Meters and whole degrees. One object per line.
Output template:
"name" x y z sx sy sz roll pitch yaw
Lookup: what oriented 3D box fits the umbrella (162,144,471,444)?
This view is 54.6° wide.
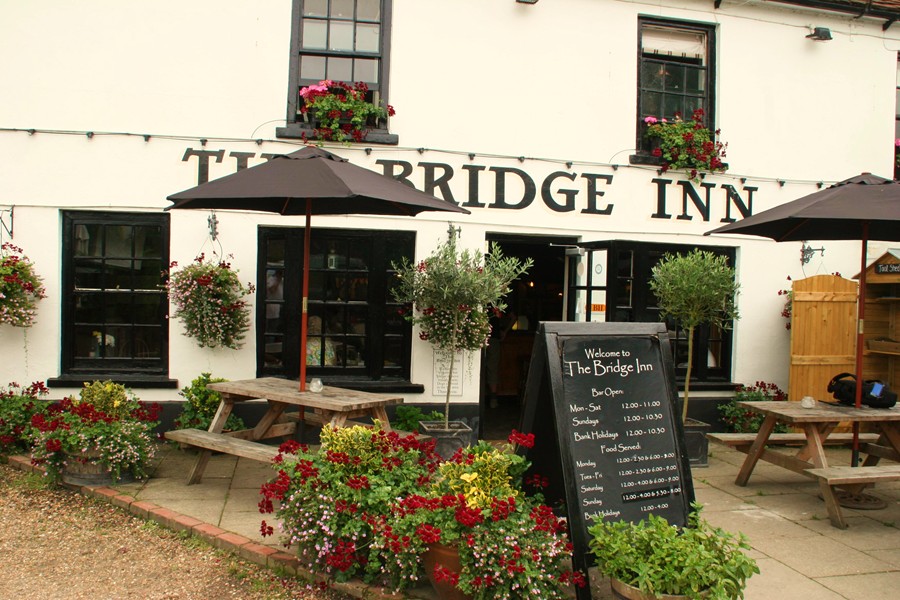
"umbrella" -1.549 -0.346 9.912 2.743 2.803 2.241 1 -2 28

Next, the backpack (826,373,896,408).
"backpack" 5.018 1.128 10.588 0.647 0.251 0.507 5 1 18

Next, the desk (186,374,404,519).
"desk" -2.115 1.829 10.280 1.793 0.855 1.613 2 2 42

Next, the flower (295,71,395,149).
"flower" -1.483 -2.604 12.015 0.957 0.755 1.270 14 16 -5

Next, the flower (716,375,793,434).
"flower" 4.355 1.504 12.531 0.853 0.680 0.845 -21 18 -31

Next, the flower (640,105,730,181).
"flower" 3.311 -2.236 12.697 1.232 0.795 0.857 1 -3 -10

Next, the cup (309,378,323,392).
"cup" -1.556 0.991 10.182 0.174 0.148 0.167 2 -1 0

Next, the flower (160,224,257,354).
"flower" -3.155 -0.056 11.306 1.112 1.615 0.759 0 -14 -7
